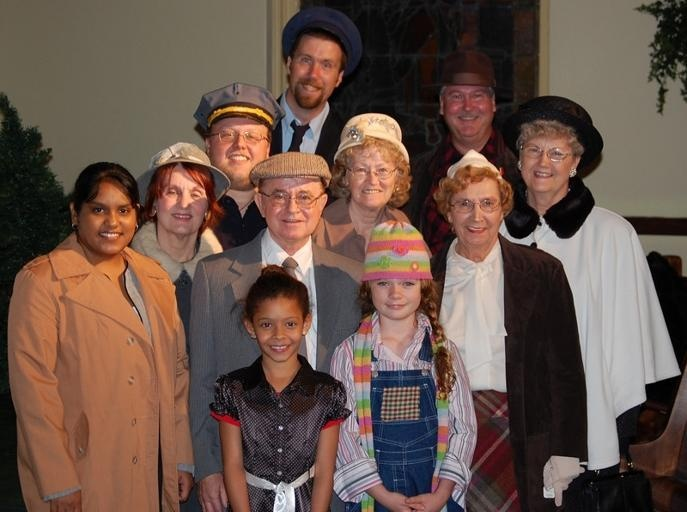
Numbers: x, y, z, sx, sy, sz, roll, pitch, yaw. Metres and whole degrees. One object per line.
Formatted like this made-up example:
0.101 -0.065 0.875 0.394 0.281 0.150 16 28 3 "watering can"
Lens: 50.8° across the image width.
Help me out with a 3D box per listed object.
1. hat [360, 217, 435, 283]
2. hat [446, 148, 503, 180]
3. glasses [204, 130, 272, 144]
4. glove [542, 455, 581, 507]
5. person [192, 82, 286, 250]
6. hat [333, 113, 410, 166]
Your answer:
0.311 -0.020 4.110 0.388 0.357 0.404 1 -4 -10 "hat"
0.842 -0.574 4.596 0.300 0.168 0.327 2 -1 -1 "hat"
-0.695 -0.780 4.771 0.413 0.106 0.155 -2 2 -4 "glasses"
1.255 1.259 4.115 0.272 0.275 0.115 -3 3 -25 "glove"
-0.676 -0.506 4.918 0.562 1.207 0.514 7 -14 -37 "person"
0.203 -0.773 4.728 0.507 0.297 0.420 11 -11 -12 "hat"
